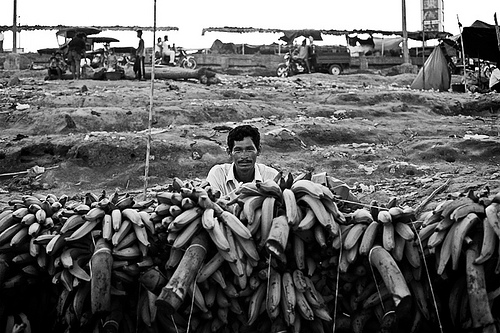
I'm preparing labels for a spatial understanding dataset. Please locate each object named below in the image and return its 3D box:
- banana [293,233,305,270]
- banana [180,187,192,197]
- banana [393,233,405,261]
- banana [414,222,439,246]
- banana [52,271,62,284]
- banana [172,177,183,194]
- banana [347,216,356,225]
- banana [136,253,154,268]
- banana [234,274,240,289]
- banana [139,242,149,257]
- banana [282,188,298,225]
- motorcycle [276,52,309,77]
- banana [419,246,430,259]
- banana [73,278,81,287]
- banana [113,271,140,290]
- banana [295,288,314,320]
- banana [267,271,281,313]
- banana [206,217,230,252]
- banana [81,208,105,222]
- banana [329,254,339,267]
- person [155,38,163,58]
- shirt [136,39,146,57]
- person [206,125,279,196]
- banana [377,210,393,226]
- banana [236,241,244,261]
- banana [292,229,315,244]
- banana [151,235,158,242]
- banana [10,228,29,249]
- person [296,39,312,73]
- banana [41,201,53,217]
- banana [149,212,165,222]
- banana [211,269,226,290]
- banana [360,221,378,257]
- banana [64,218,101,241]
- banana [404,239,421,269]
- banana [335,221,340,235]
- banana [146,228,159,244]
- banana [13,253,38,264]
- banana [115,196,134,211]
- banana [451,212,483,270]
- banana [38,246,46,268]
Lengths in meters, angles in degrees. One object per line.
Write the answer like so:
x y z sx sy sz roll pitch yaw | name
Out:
0.321 0.560 2.674 0.058 0.244 0.077 -2 -12 -11 | banana
-0.431 0.171 2.707 0.106 0.055 0.041 4 9 21 | banana
0.971 0.524 2.630 0.053 0.197 0.069 5 -20 -4 | banana
1.189 0.454 2.678 0.182 0.062 0.043 -45 25 -25 | banana
-1.302 0.748 2.695 0.046 0.072 0.020 -15 -29 39 | banana
-0.520 0.122 2.842 0.053 0.121 0.033 0 25 0 | banana
0.695 0.365 2.717 0.039 0.061 0.014 1 -1 31 | banana
-0.701 0.628 2.688 0.102 0.068 0.073 -2 8 -14 | banana
-0.084 0.756 2.626 0.027 0.107 0.024 29 42 34 | banana
-0.717 0.557 2.693 0.044 0.092 0.021 -46 -25 24 | banana
0.262 0.253 2.630 0.067 0.075 0.222 -7 41 3 | banana
2.668 -6.486 25.396 1.940 1.391 1.288 2 11 4 | motorcycle
1.153 0.569 2.663 0.065 0.076 0.015 -5 2 -7 | banana
-1.152 0.769 2.649 0.048 0.055 0.015 -1 8 17 | banana
-0.840 0.779 2.721 0.082 0.172 0.161 7 11 42 | banana
0.347 0.899 2.631 0.062 0.237 0.074 -34 -21 12 | banana
0.159 0.808 2.591 0.059 0.078 0.236 7 48 8 | banana
-0.196 0.452 2.584 0.072 0.271 0.087 -25 -14 14 | banana
-1.074 0.328 2.759 0.058 0.080 0.196 29 -1 6 | banana
0.561 0.622 2.666 0.045 0.075 0.020 7 3 21 | banana
-5.411 -7.124 23.756 0.396 1.152 1.169 -1 8 -12 | person
-5.164 -5.641 18.934 0.310 0.898 0.763 -3 9 -23 | shirt
-0.065 -0.005 3.929 0.707 0.810 0.447 0 -1 -5 | person
0.889 0.337 2.630 0.072 0.084 0.097 -6 3 -1 | banana
-0.064 0.546 2.607 0.028 0.130 0.030 -5 -2 -37 | banana
0.380 0.471 2.679 0.213 0.064 0.074 28 -25 -30 | banana
-0.647 0.488 2.732 0.034 0.037 0.008 -5 -19 -31 | banana
-1.618 0.509 2.798 0.117 0.138 0.065 -5 9 -32 | banana
3.430 -6.916 24.931 0.832 2.137 1.190 -3 8 -22 | person
-1.498 0.305 2.931 0.079 0.110 0.055 -2 8 -19 | banana
-0.639 0.342 2.710 0.118 0.039 0.044 -22 31 57 | banana
-0.214 0.719 2.615 0.041 0.051 0.170 12 33 -40 | banana
0.803 0.463 2.659 0.066 0.081 0.282 8 51 28 | banana
-1.127 0.423 2.722 0.079 0.074 0.271 -25 18 47 | banana
1.071 0.568 2.640 0.080 0.188 0.043 -15 -7 -1 | banana
0.583 0.396 2.660 0.017 0.028 0.105 -11 -34 7 | banana
-0.661 0.480 2.740 0.038 0.126 0.032 -34 14 -2 | banana
-1.591 0.643 2.814 0.186 0.065 0.059 0 19 -4 | banana
-0.892 0.257 2.900 0.083 0.082 0.173 5 9 27 | banana
1.418 0.430 2.643 0.117 0.483 0.134 27 -22 -4 | banana
-1.447 0.627 2.782 0.046 0.160 0.045 -10 -8 36 | banana
